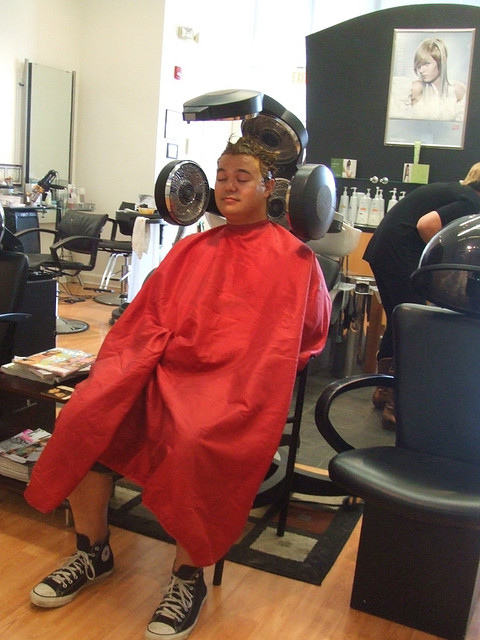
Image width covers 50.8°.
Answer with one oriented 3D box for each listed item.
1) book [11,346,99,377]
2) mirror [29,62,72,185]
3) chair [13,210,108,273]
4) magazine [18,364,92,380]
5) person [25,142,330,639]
[{"bbox_3d":[-0.648,0.150,1.777,0.176,0.024,0.183,10,17,27],"label":"book"},{"bbox_3d":[-2.268,-2.311,6.062,0.102,1.369,0.559,9,8,35],"label":"mirror"},{"bbox_3d":[-1.732,-0.635,4.790,0.859,0.809,0.815,1,16,-26],"label":"chair"},{"bbox_3d":[-0.629,0.177,1.735,0.229,0.035,0.111,1,6,-22],"label":"magazine"},{"bbox_3d":[-0.134,0.104,1.325,0.568,1.202,0.600,7,7,23],"label":"person"}]
